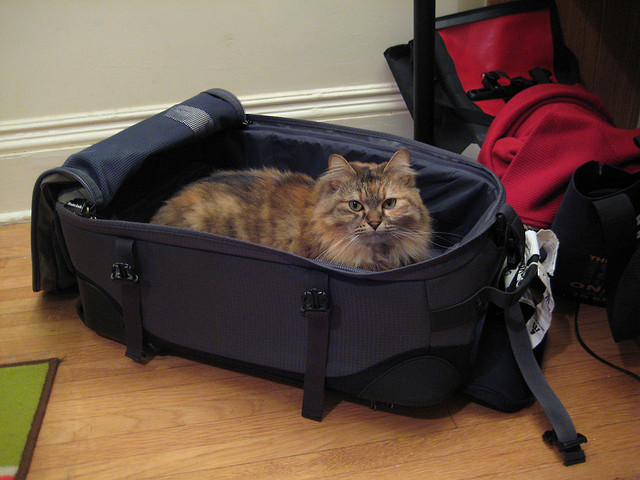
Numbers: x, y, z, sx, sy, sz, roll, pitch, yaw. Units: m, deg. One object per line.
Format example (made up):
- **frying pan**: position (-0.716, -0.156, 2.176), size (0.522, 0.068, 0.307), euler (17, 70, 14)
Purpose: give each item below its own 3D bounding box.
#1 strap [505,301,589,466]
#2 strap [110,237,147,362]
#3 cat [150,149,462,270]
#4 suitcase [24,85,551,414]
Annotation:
- **strap**: position (0.587, 0.392, 1.658), size (0.146, 0.505, 0.115), euler (-21, -15, 4)
- **strap**: position (-0.539, 0.182, 1.740), size (0.126, 0.371, 0.076), euler (14, 20, 33)
- **cat**: position (-0.101, -0.088, 1.906), size (0.926, 0.293, 0.256), euler (2, 24, 18)
- **suitcase**: position (-0.193, 0.057, 1.866), size (1.580, 0.498, 0.905), euler (10, 30, 17)
